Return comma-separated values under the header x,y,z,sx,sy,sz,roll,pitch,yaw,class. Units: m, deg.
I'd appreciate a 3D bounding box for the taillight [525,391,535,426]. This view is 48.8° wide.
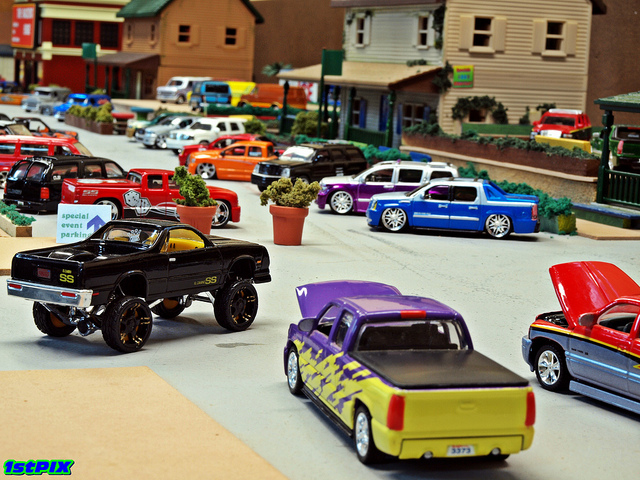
x,y,z,sx,sy,sz,roll,pitch,yaw,class
2.359,1.871,7.918,0.163,0.383,0.071,-4,13,-31,taillight

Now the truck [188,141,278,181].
x,y,z,sx,sy,sz,roll,pitch,yaw,class
-3.867,-3.655,32.823,4.069,1.831,2.280,5,12,-1,truck

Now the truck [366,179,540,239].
x,y,z,sx,sy,sz,roll,pitch,yaw,class
4.282,-1.061,23.342,5.158,1.638,2.227,4,8,2,truck

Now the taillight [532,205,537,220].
x,y,z,sx,sy,sz,roll,pitch,yaw,class
6.880,-0.896,22.539,0.219,0.449,0.109,-4,12,-29,taillight

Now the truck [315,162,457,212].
x,y,z,sx,sy,sz,roll,pitch,yaw,class
2.381,-2.048,25.434,4.517,1.730,2.122,2,8,2,truck

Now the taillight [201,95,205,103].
x,y,z,sx,sy,sz,roll,pitch,yaw,class
-8.696,-10.376,51.965,0.345,0.497,0.170,10,13,33,taillight

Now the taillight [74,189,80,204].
x,y,z,sx,sy,sz,roll,pitch,yaw,class
-7.068,-1.279,20.422,0.159,0.376,0.077,3,11,3,taillight

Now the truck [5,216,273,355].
x,y,z,sx,sy,sz,roll,pitch,yaw,class
-3.025,0.857,12.400,4.176,1.955,2.176,-9,15,-43,truck

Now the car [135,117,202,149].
x,y,z,sx,sy,sz,roll,pitch,yaw,class
-9.532,-6.426,41.905,4.296,1.632,1.995,-8,14,-35,car

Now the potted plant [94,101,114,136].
x,y,z,sx,sy,sz,roll,pitch,yaw,class
-14.738,-8.117,48.071,1.161,1.849,1.591,-2,12,-24,potted plant

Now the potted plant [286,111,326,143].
x,y,z,sx,sy,sz,roll,pitch,yaw,class
-1.008,-6.857,42.648,1.667,1.598,3.384,2,11,-3,potted plant

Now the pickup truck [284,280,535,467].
x,y,z,sx,sy,sz,roll,pitch,yaw,class
1.004,1.684,9.914,2.168,1.670,4.996,2,2,-15,pickup truck

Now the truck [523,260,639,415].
x,y,z,sx,sy,sz,roll,pitch,yaw,class
4.143,1.336,10.751,1.350,1.237,2.232,-4,21,-34,truck

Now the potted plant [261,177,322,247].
x,y,z,sx,sy,sz,roll,pitch,yaw,class
-0.913,-0.884,20.336,1.979,2.224,1.736,2,1,-4,potted plant

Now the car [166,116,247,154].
x,y,z,sx,sy,sz,roll,pitch,yaw,class
-6.344,-5.750,38.477,3.438,1.499,2.023,-7,13,-31,car

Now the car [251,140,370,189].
x,y,z,sx,sy,sz,roll,pitch,yaw,class
-0.452,-3.299,29.852,4.220,1.937,2.489,-6,12,-30,car

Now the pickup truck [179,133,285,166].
x,y,z,sx,sy,sz,roll,pitch,yaw,class
-3.680,-3.680,32.955,4.755,1.828,2.314,4,11,-7,pickup truck

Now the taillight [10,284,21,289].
x,y,z,sx,sy,sz,roll,pitch,yaw,class
-4.853,0.716,11.192,0.090,0.022,0.090,3,11,-25,taillight
